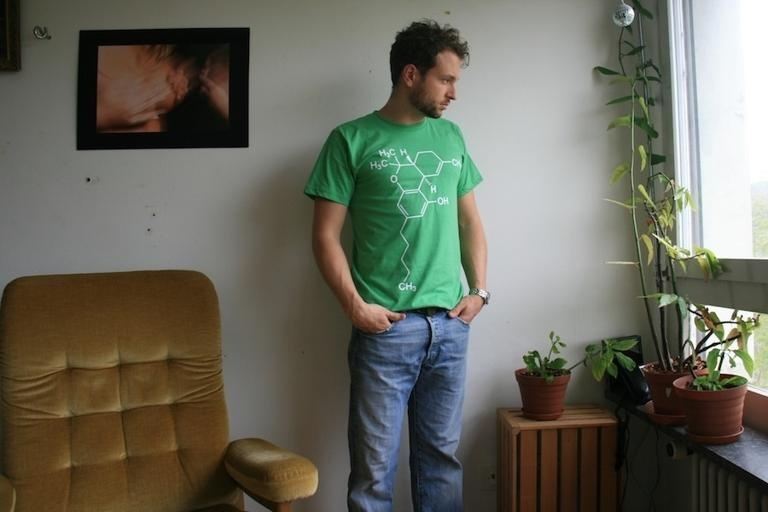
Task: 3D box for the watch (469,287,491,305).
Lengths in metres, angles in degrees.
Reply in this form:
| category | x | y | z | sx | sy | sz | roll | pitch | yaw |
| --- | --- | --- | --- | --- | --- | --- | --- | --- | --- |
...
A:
| category | x | y | z | sx | sy | sz | roll | pitch | yaw |
| --- | --- | --- | --- | --- | --- | --- | --- | --- | --- |
| watch | 0.421 | 0.173 | 2.855 | 0.087 | 0.099 | 0.062 | -8 | 25 | 3 |
